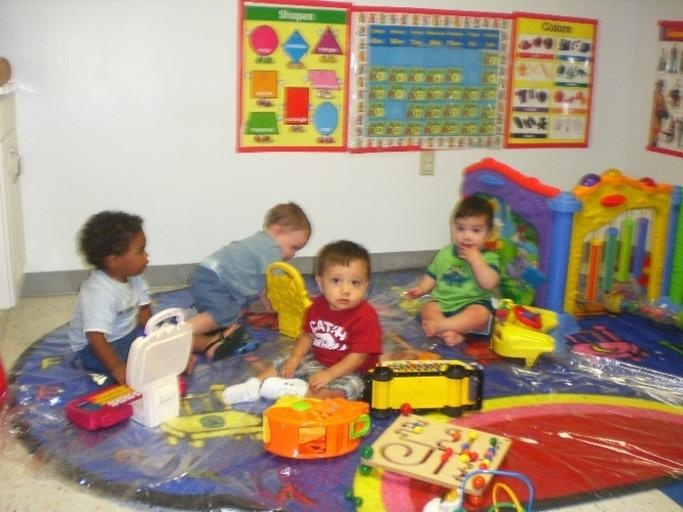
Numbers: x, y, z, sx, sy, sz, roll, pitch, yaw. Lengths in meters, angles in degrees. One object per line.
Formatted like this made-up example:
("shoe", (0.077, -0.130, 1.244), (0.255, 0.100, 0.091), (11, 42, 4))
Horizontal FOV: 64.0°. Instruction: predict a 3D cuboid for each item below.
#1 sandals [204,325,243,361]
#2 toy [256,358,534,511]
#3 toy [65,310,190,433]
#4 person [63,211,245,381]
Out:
("sandals", (-0.527, 0.388, 2.440), (0.179, 0.093, 0.058), (-40, 39, -26))
("toy", (0.282, 0.569, 1.797), (0.477, 0.128, 0.472), (12, 18, 29))
("toy", (-0.778, 0.433, 1.980), (0.224, 0.297, 0.314), (17, 24, 28))
("person", (-0.783, 0.147, 2.464), (0.651, 0.940, 0.691), (9, 23, -10))
